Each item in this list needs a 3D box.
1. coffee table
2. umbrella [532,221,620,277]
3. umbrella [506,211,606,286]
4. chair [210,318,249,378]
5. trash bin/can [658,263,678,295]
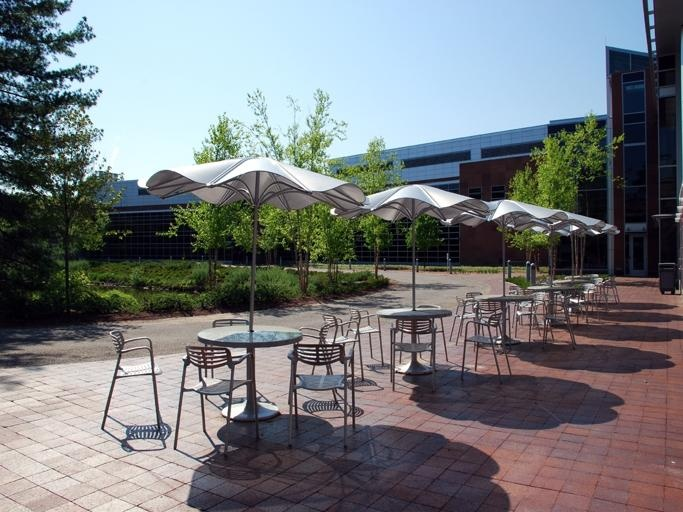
[{"bbox_3d":[-1.312,1.811,8.307,1.463,1.073,1.467,2,6,10],"label":"coffee table"},{"bbox_3d":[13.677,-0.314,31.526,3.209,2.316,3.478,4,-5,-23],"label":"umbrella"},{"bbox_3d":[11.190,-0.301,28.143,4.524,2.786,4.111,1,-5,13],"label":"umbrella"},{"bbox_3d":[-1.973,1.317,9.722,0.525,0.906,0.606,1,4,-7],"label":"chair"},{"bbox_3d":[14.370,1.010,24.264,0.638,1.316,1.234,2,6,27],"label":"trash bin/can"}]
